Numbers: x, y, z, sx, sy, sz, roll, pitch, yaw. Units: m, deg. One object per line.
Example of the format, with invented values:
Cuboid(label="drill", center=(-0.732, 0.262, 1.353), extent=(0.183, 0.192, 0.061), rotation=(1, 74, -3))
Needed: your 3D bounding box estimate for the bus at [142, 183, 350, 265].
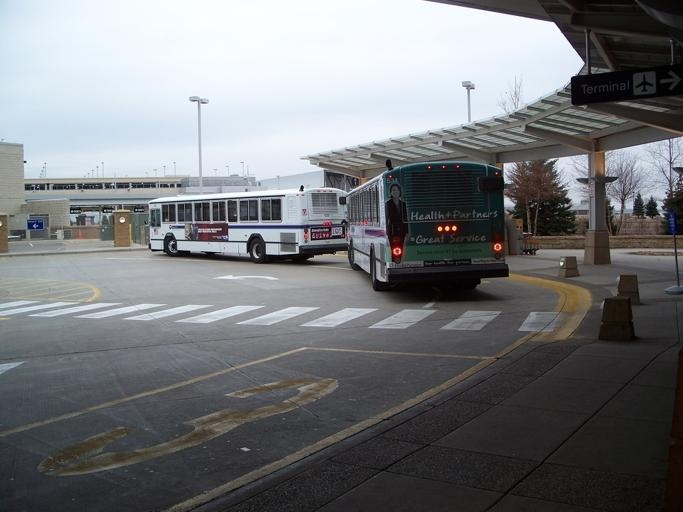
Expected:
Cuboid(label="bus", center=(-4.821, -1.744, 29.388), extent=(14.820, 3.717, 4.389), rotation=(3, 5, 41))

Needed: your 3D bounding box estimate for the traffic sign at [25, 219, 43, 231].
Cuboid(label="traffic sign", center=(-34.453, -3.497, 57.614), extent=(1.618, 0.934, 0.203), rotation=(1, 7, -7))

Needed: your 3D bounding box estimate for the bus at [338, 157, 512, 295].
Cuboid(label="bus", center=(2.409, -0.801, 15.972), extent=(3.295, 3.848, 4.716), rotation=(-4, 5, -12))
